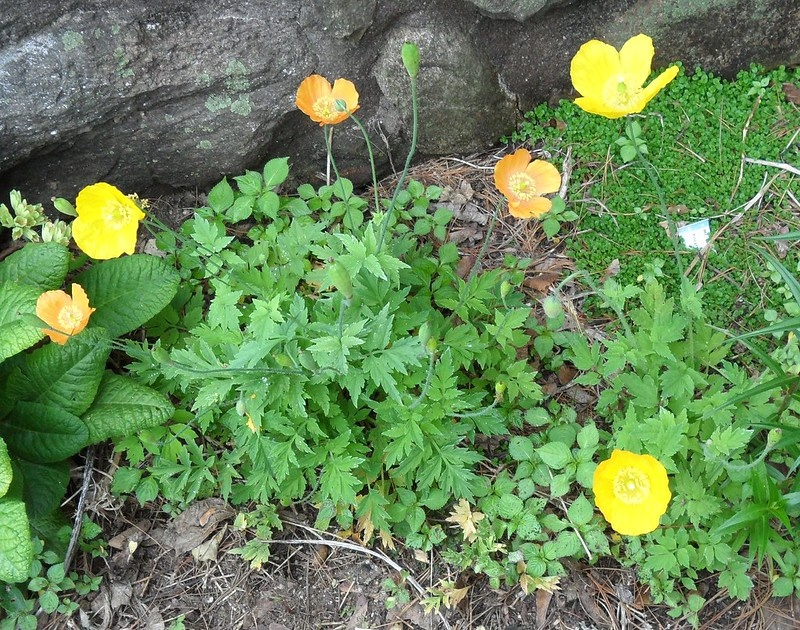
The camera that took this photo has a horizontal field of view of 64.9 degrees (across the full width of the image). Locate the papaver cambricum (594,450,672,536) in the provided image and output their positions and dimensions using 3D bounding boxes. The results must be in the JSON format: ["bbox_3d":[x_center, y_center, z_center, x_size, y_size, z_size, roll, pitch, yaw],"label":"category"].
[{"bbox_3d":[0.946,0.751,2.636,0.279,0.511,0.315,-21,67,6],"label":"papaver cambricum"}]

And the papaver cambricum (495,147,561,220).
[{"bbox_3d":[0.576,-0.627,2.942,0.333,0.350,0.133,-4,61,59],"label":"papaver cambricum"}]

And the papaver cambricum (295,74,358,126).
[{"bbox_3d":[-0.347,-1.000,2.925,0.292,0.119,0.298,1,76,-8],"label":"papaver cambricum"}]

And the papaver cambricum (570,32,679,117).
[{"bbox_3d":[0.992,-1.037,2.807,0.411,0.439,0.213,15,75,12],"label":"papaver cambricum"}]
